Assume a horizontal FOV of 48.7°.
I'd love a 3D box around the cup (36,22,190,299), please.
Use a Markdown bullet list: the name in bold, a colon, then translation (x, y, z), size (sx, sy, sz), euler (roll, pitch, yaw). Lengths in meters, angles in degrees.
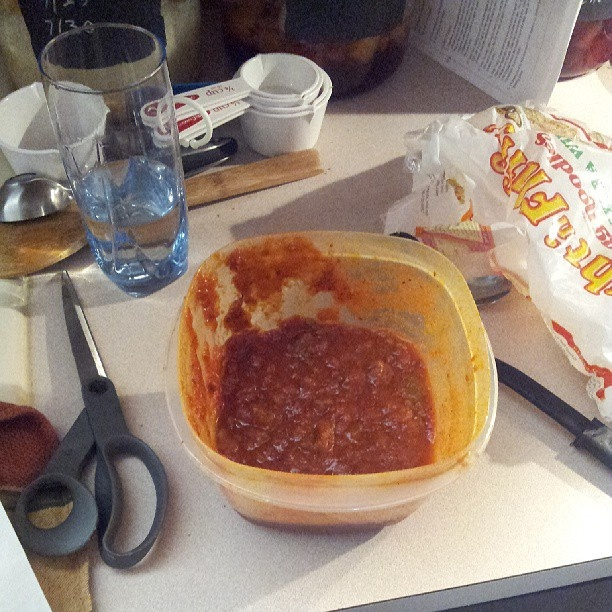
- **cup**: translation (-0.195, -0.153, 0.710), size (0.121, 0.246, 0.142), euler (-24, 53, -24)
